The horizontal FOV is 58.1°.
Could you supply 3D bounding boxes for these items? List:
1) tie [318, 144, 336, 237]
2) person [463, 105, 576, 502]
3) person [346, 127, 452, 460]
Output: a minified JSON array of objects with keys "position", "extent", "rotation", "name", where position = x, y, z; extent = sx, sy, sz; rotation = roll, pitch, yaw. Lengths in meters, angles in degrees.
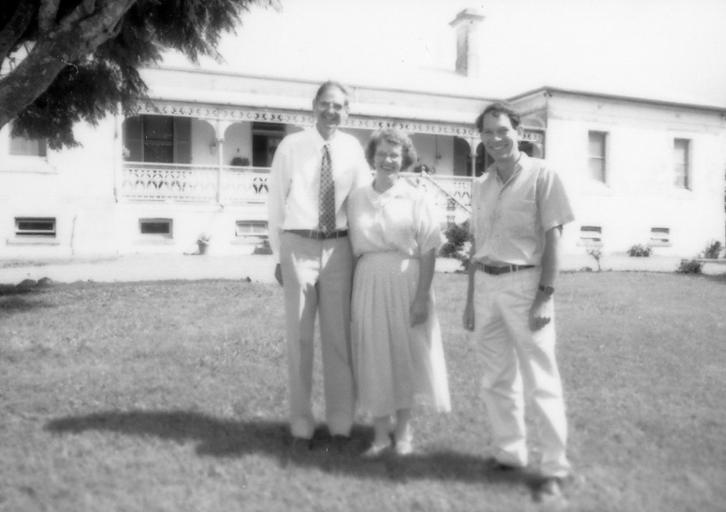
[{"position":[-0.349,-0.614,6.378],"extent":[0.159,0.829,0.221],"rotation":[1,8,-4],"name":"tie"},{"position":[1.413,0.381,5.960],"extent":[1.112,3.379,0.620],"rotation":[6,9,27],"name":"person"},{"position":[0.327,0.337,6.313],"extent":[0.968,2.985,0.608],"rotation":[0,8,-7],"name":"person"}]
